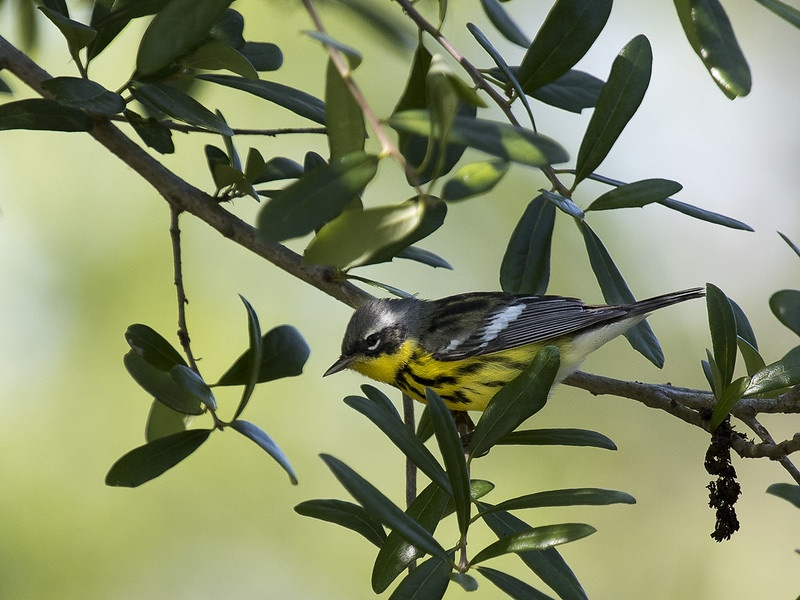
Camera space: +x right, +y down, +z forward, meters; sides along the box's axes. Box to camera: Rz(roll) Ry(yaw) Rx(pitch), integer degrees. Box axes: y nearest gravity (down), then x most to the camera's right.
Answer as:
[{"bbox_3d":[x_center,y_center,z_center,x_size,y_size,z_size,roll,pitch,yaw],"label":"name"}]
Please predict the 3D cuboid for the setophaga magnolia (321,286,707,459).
[{"bbox_3d":[0.486,0.198,3.881,1.454,0.434,0.636,-14,-94,-4],"label":"setophaga magnolia"}]
